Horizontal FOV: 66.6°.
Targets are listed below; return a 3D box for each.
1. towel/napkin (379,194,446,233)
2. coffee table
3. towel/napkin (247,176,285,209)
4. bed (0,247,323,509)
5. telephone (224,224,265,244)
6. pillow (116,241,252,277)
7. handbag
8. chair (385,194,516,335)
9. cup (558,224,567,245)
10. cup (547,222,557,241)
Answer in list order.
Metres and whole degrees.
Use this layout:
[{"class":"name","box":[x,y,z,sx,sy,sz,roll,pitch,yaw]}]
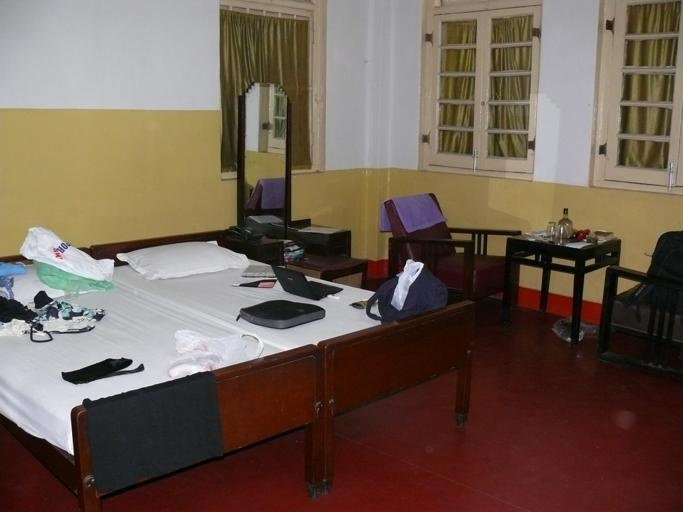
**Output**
[{"class":"towel/napkin","box":[0.746,-0.439,5.218,0.467,0.198,0.454,-17,33,-33]},{"class":"coffee table","box":[2.112,0.173,4.848,0.945,1.138,0.965,-7,11,-41]},{"class":"towel/napkin","box":[-0.756,-0.655,5.181,0.255,0.114,0.359,-2,26,-15]},{"class":"bed","box":[-0.704,0.481,2.413,0.994,0.664,0.931,-10,14,-38]},{"class":"telephone","box":[-0.940,-0.226,4.964,0.275,0.119,0.171,12,14,35]},{"class":"pillow","box":[-1.283,0.046,4.377,0.576,0.127,0.496,-6,17,-36]},{"class":"handbag","box":[0.399,0.290,3.244,0.492,0.448,0.275,6,-10,41]},{"class":"chair","box":[0.920,-0.026,5.141,1.206,1.319,0.953,10,17,42]},{"class":"cup","box":[1.937,-0.188,4.578,0.080,0.138,0.103,6,15,22]},{"class":"cup","box":[1.882,-0.221,4.672,0.074,0.136,0.142,3,15,10]}]
